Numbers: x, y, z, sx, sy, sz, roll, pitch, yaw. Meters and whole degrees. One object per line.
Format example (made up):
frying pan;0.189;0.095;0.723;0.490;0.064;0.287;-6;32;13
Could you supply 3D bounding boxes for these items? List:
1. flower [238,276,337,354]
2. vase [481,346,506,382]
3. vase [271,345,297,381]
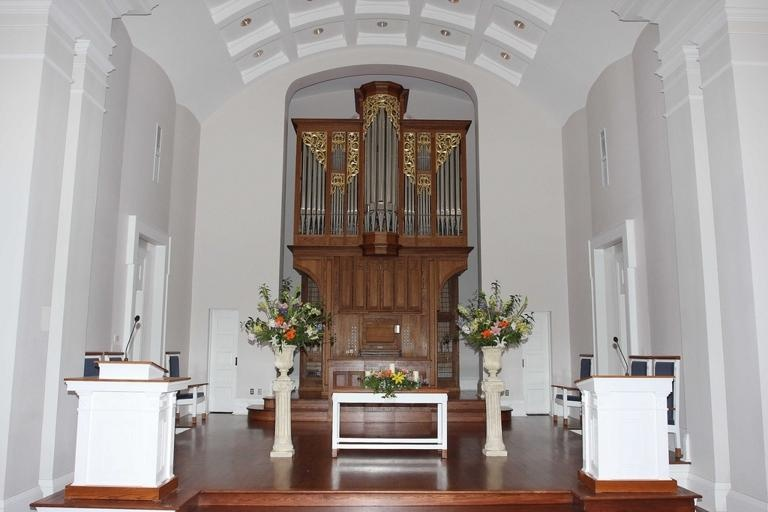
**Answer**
flower;-1.509;0.806;8.089;0.726;0.790;0.848;9;0;-35
vase;1.494;1.480;8.032;0.283;0.475;0.435;-2;-13;12
vase;-1.363;1.447;7.962;0.419;0.509;0.407;1;-2;18
